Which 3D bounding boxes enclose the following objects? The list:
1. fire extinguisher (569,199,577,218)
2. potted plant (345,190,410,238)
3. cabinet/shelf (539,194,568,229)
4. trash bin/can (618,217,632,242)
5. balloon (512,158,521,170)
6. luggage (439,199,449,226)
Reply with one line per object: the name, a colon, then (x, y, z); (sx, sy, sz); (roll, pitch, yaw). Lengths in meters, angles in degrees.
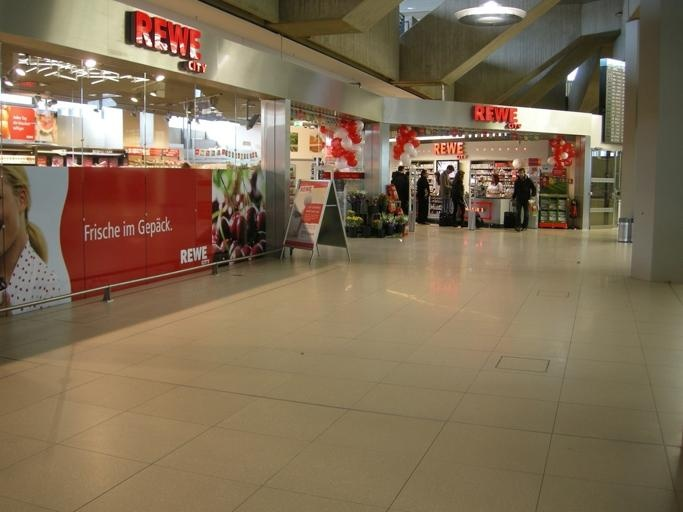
fire extinguisher: (8.602, -1.734, 17.145); (0.300, 0.661, 0.122); (6, 8, 43)
potted plant: (0.934, -1.213, 13.596); (1.738, 1.313, 0.811); (-1, 6, -7)
cabinet/shelf: (7.984, -1.636, 17.385); (1.025, 1.618, 0.768); (2, 3, 25)
trash bin/can: (7.840, -0.698, 12.805); (0.287, 0.643, 0.629); (3, 8, 29)
balloon: (7.065, -3.707, 18.716); (0.380, 0.454, 0.566); (4, 8, 29)
luggage: (3.870, -1.620, 17.413); (0.346, 0.944, 0.635); (1, 7, 14)
